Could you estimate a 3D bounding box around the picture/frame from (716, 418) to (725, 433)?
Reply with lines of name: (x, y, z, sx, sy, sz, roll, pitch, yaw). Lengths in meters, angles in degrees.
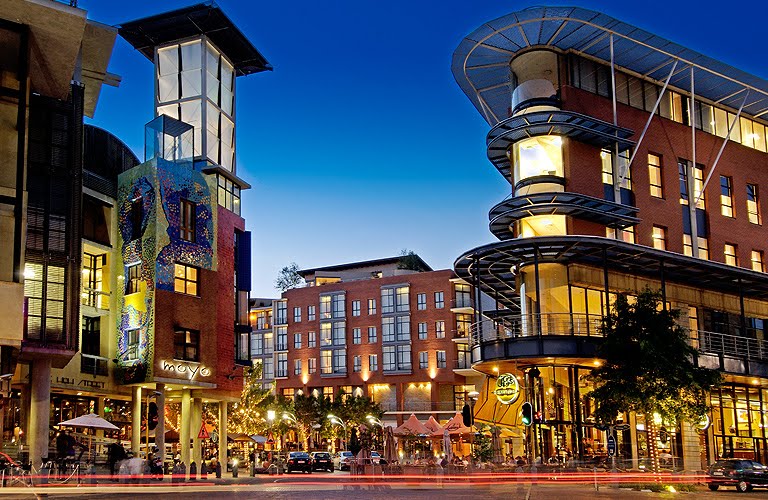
picture/frame: (25.116, 13.146, 75.402, 0.832, 1.062, 0.336, 13, -23, -38)

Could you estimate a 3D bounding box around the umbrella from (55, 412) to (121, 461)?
umbrella: (-18.662, 10.934, 64.112, 3.565, 2.125, 3.419, 9, -14, -24)
